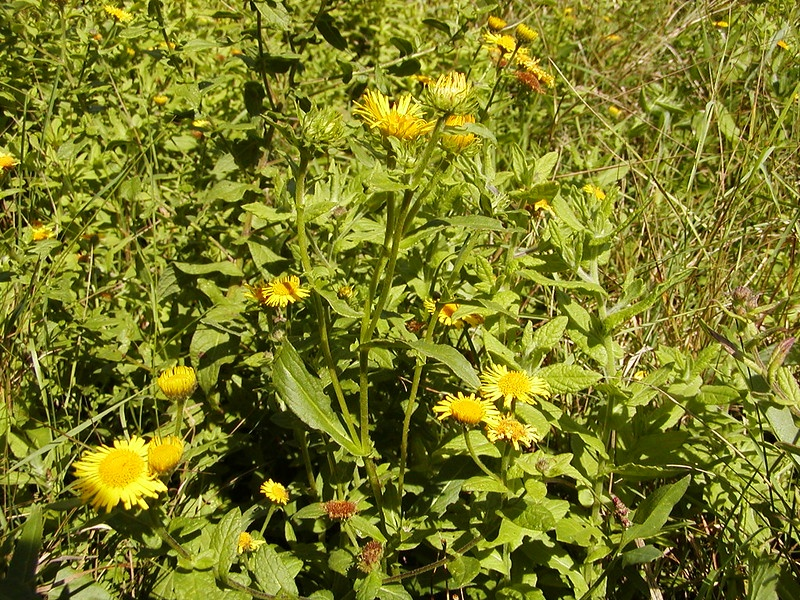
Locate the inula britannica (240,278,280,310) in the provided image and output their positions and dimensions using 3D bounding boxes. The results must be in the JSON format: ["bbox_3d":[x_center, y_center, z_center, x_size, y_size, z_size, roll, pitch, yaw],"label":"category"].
[{"bbox_3d":[-0.552,0.000,3.065,0.122,0.051,0.125,19,23,-43],"label":"inula britannica"}]

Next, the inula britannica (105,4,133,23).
[{"bbox_3d":[-1.323,-1.356,3.635,0.105,0.057,0.104,48,31,4],"label":"inula britannica"}]

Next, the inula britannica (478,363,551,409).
[{"bbox_3d":[0.392,0.274,2.764,0.167,0.071,0.185,2,31,-13],"label":"inula britannica"}]

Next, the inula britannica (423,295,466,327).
[{"bbox_3d":[0.168,0.053,3.036,0.112,0.038,0.120,-7,46,-35],"label":"inula britannica"}]

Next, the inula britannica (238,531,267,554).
[{"bbox_3d":[-0.550,0.891,2.832,0.098,0.050,0.107,10,1,7],"label":"inula britannica"}]

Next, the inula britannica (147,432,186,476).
[{"bbox_3d":[-0.785,0.509,2.598,0.092,0.107,0.124,7,28,10],"label":"inula britannica"}]

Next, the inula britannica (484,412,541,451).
[{"bbox_3d":[0.397,0.451,2.690,0.130,0.057,0.140,24,27,15],"label":"inula britannica"}]

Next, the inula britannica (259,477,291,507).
[{"bbox_3d":[-0.491,0.731,3.028,0.119,0.029,0.120,43,9,-46],"label":"inula britannica"}]

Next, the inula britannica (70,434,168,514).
[{"bbox_3d":[-0.926,0.571,2.509,0.245,0.072,0.261,-9,57,-27],"label":"inula britannica"}]

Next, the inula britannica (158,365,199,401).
[{"bbox_3d":[-0.788,0.282,2.742,0.120,0.108,0.136,4,33,-7],"label":"inula britannica"}]

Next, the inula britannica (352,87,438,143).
[{"bbox_3d":[-0.008,-0.639,2.610,0.273,0.142,0.211,13,33,5],"label":"inula britannica"}]

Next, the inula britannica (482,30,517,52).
[{"bbox_3d":[0.484,-1.253,3.725,0.159,0.075,0.300,12,34,3],"label":"inula britannica"}]

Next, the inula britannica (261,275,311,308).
[{"bbox_3d":[-0.447,-0.034,2.962,0.123,0.045,0.140,-15,53,-6],"label":"inula britannica"}]

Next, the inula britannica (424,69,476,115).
[{"bbox_3d":[0.162,-0.662,2.465,0.153,0.117,0.152,-18,42,-35],"label":"inula britannica"}]
